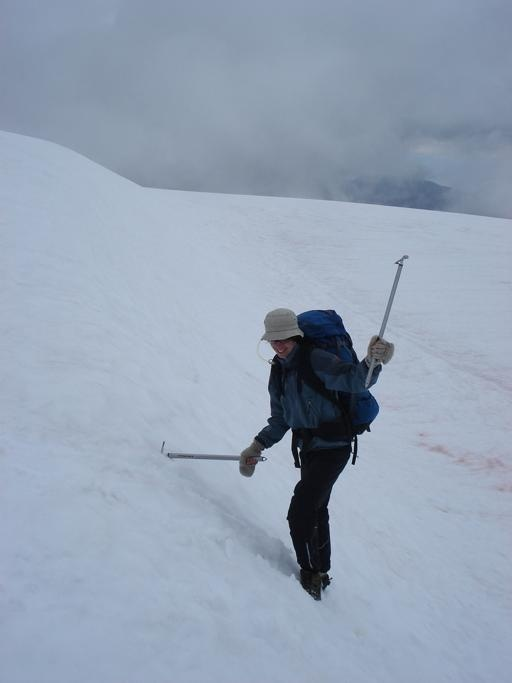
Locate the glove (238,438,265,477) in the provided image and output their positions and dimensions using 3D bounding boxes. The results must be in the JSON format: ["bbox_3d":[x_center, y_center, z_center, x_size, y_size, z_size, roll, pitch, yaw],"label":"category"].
[{"bbox_3d":[-0.032,0.844,5.160,0.170,0.260,0.091,22,-4,21],"label":"glove"}]

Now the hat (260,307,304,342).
[{"bbox_3d":[0.177,-0.113,4.750,0.262,0.221,0.277,-1,27,1],"label":"hat"}]

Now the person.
[{"bbox_3d":[0.407,0.806,4.855,0.830,2.166,1.069,-13,30,-17],"label":"person"}]

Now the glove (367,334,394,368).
[{"bbox_3d":[0.716,0.054,4.134,0.146,0.231,0.179,1,28,7],"label":"glove"}]
